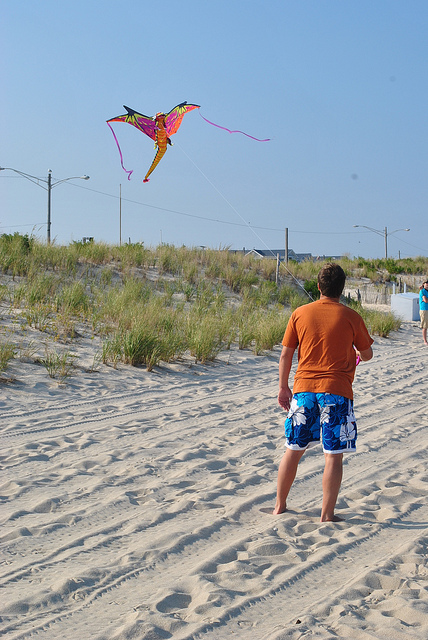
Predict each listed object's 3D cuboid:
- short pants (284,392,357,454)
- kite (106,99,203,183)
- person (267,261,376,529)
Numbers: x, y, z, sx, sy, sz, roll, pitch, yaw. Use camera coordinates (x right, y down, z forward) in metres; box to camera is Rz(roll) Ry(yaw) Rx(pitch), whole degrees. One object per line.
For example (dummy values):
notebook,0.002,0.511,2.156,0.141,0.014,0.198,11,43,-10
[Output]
short pants,0.629,0.538,4.381,0.437,0.448,0.244,0,8,21
kite,-0.861,-3.078,12.453,1.659,0.790,1.511,-11,-14,-8
person,0.685,0.413,4.686,0.555,1.548,0.927,4,6,12
